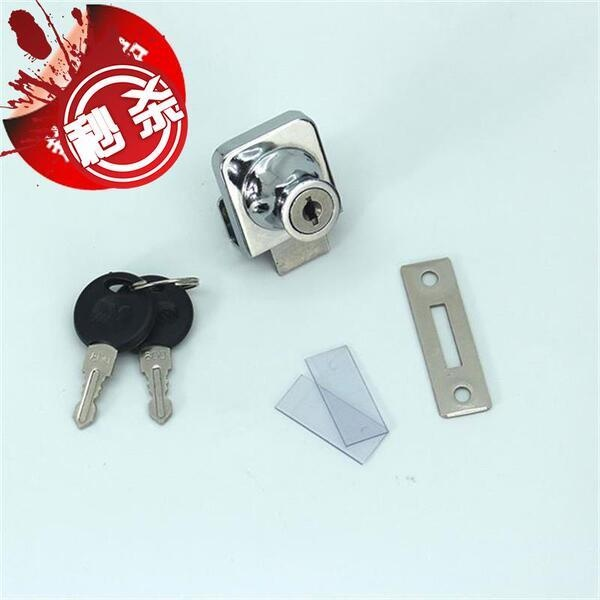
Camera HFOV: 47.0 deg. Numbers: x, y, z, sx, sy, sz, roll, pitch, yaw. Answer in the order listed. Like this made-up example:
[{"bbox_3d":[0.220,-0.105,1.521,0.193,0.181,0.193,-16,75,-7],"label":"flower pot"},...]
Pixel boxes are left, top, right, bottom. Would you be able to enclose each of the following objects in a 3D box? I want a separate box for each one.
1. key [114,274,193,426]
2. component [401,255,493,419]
[{"bbox_3d":[-0.314,0.118,1.461,0.172,0.275,0.028,-4,-25,-3],"label":"key"},{"bbox_3d":[0.319,0.079,1.507,0.129,0.341,0.026,-12,-25,-6],"label":"component"}]
